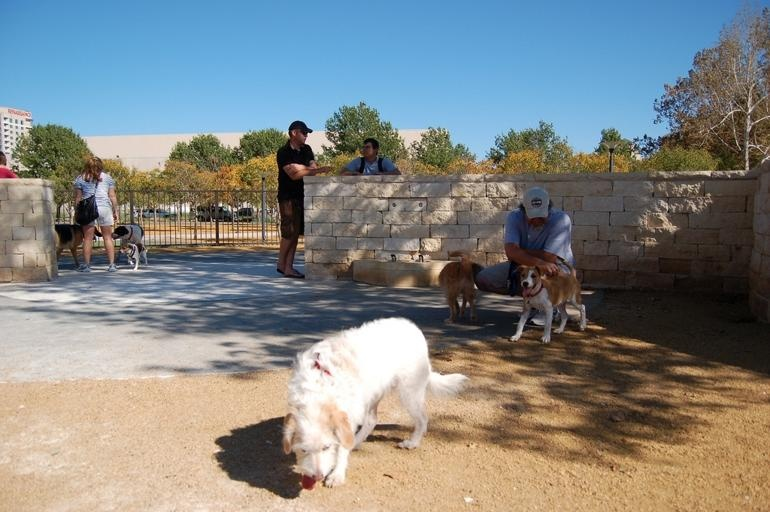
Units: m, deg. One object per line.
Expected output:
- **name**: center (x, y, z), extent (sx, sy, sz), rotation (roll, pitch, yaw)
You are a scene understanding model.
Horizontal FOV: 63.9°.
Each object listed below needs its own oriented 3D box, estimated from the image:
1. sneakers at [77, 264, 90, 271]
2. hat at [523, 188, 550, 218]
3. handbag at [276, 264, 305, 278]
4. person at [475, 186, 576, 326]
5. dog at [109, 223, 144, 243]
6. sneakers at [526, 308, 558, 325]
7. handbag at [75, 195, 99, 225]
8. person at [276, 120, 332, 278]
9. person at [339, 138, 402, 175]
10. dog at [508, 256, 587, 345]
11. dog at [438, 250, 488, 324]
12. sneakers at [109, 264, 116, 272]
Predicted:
- **sneakers**: center (-6.494, 0.258, 13.348), extent (0.214, 0.221, 0.539), rotation (0, 5, -31)
- **hat**: center (2.078, -0.781, 8.470), extent (0.281, 0.223, 0.428), rotation (-1, 47, 10)
- **handbag**: center (-1.955, 0.297, 12.750), extent (0.652, 0.181, 0.240), rotation (3, 1, 31)
- **person**: center (2.131, -0.045, 8.801), extent (1.147, 1.844, 1.254), rotation (-11, 17, -40)
- **dog**: center (-5.648, -0.543, 13.816), extent (0.296, 0.430, 0.847), rotation (5, 2, 30)
- **sneakers**: center (2.284, 0.892, 9.090), extent (0.183, 0.250, 0.595), rotation (-4, -11, 27)
- **handbag**: center (-6.129, -0.968, 12.745), extent (0.555, 0.589, 0.268), rotation (-5, -6, 12)
- **person**: center (-1.808, -1.148, 12.617), extent (0.851, 3.103, 1.148), rotation (-1, 9, -10)
- **person**: center (-0.291, -1.930, 12.740), extent (1.153, 0.880, 0.643), rotation (1, -3, 4)
- **dog**: center (2.239, 0.576, 8.369), extent (0.595, 1.020, 1.351), rotation (8, 11, 42)
- **dog**: center (1.058, 0.506, 9.446), extent (0.500, 0.931, 1.460), rotation (-4, -2, -11)
- **sneakers**: center (-5.785, 0.238, 13.200), extent (0.108, 0.130, 0.298), rotation (1, 8, -4)
